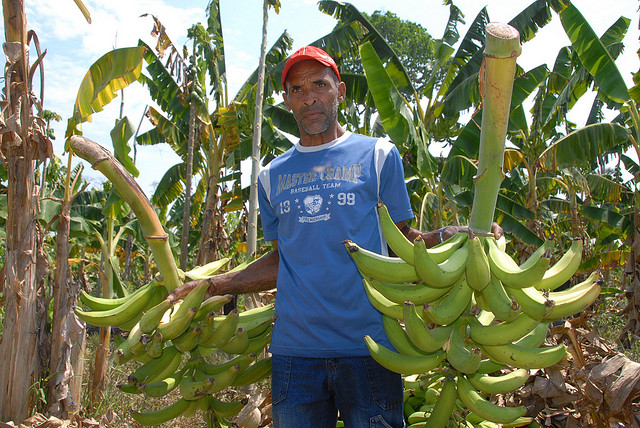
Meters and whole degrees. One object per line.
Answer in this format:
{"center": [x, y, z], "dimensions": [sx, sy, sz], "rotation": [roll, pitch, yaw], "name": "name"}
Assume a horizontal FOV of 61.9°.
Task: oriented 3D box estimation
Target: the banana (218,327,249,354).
{"center": [-0.722, 1.091, 4.530], "dimensions": [0.245, 0.207, 0.221], "rotation": [-8, -12, 14], "name": "banana"}

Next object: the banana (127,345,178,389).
{"center": [-1.380, 1.285, 4.429], "dimensions": [0.101, 0.188, 0.516], "rotation": [24, 29, 19], "name": "banana"}

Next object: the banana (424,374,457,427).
{"center": [0.933, 1.451, 4.057], "dimensions": [0.166, 0.535, 0.131], "rotation": [9, 8, 16], "name": "banana"}

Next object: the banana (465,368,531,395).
{"center": [1.351, 1.258, 4.023], "dimensions": [0.446, 0.223, 0.108], "rotation": [-8, 31, -7], "name": "banana"}

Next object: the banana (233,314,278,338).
{"center": [-0.554, 0.972, 4.583], "dimensions": [0.292, 0.112, 0.087], "rotation": [-26, -46, 9], "name": "banana"}

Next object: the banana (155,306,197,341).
{"center": [-1.170, 0.912, 4.347], "dimensions": [0.310, 0.117, 0.081], "rotation": [-43, -50, 20], "name": "banana"}

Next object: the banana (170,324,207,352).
{"center": [-1.093, 1.024, 4.400], "dimensions": [0.365, 0.201, 0.147], "rotation": [-32, -21, 37], "name": "banana"}

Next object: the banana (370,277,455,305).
{"center": [0.688, 0.576, 3.945], "dimensions": [0.420, 0.166, 0.108], "rotation": [4, -36, 1], "name": "banana"}

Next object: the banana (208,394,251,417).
{"center": [-0.755, 1.656, 4.594], "dimensions": [0.380, 0.214, 0.198], "rotation": [-10, -12, 20], "name": "banana"}

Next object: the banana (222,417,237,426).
{"center": [-0.817, 1.872, 4.807], "dimensions": [0.113, 0.083, 0.160], "rotation": [-3, -13, -11], "name": "banana"}
